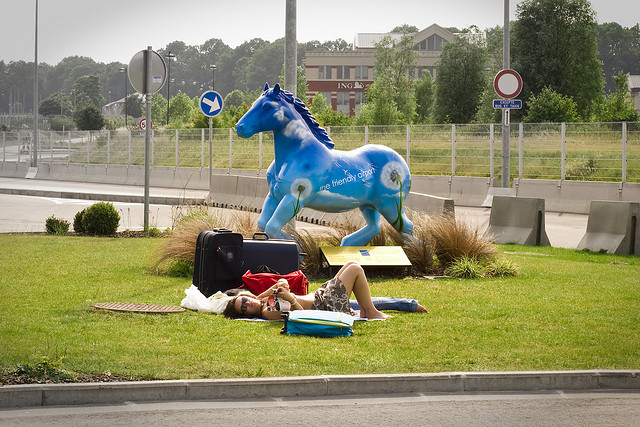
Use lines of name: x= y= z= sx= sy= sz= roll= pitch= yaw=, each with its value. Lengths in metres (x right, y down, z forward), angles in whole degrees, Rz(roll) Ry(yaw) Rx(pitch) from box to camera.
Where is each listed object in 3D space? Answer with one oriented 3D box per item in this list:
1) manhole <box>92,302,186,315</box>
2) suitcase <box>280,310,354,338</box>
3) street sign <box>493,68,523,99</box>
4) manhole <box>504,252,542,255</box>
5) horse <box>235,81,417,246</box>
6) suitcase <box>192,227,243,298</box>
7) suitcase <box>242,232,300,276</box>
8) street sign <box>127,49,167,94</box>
manhole: x=-3.666 y=1.896 z=18.990 sx=1.826 sy=0.143 sz=0.512 roll=0 pitch=4 yaw=-1
suitcase: x=-0.080 y=2.102 z=18.132 sx=1.400 sy=0.482 sz=0.246 roll=0 pitch=4 yaw=-1
street sign: x=6.158 y=-4.295 z=31.013 sx=0.806 sy=0.999 sz=1.064 roll=1 pitch=4 yaw=15
manhole: x=5.294 y=1.024 z=24.710 sx=0.968 sy=0.043 sz=0.363 roll=-1 pitch=4 yaw=-20
horse: x=0.161 y=-0.834 z=22.172 sx=4.677 sy=4.022 sz=1.627 roll=-1 pitch=6 yaw=-28
suitcase: x=-2.177 y=1.005 z=19.912 sx=0.798 sy=1.483 sz=0.840 roll=-3 pitch=16 yaw=-36
suitcase: x=-1.141 y=0.949 z=20.072 sx=1.208 sy=0.965 sz=0.681 roll=1 pitch=-7 yaw=-15
street sign: x=-4.780 y=-3.915 z=25.841 sx=0.989 sy=1.144 sz=0.564 roll=-1 pitch=4 yaw=-14
